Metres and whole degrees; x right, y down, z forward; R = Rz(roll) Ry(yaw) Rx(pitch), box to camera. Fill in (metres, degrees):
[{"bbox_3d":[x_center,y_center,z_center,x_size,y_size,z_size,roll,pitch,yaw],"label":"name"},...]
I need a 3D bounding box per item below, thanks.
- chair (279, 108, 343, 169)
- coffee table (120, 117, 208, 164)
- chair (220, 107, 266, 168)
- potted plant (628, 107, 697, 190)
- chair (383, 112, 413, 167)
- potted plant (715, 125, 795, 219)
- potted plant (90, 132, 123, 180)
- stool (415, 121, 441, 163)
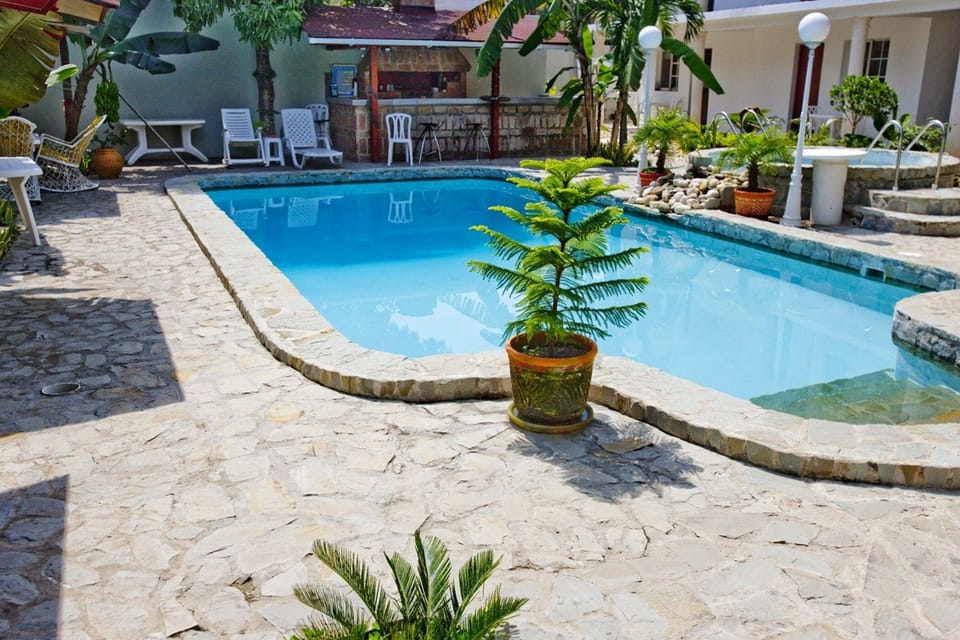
[{"bbox_3d":[-4.791,-5.012,15.362,1.287,1.566,2.499,-13,35,-29],"label":"chair"},{"bbox_3d":[-8.628,-4.844,15.133,1.904,1.181,2.793,-11,21,-29],"label":"coffee table"},{"bbox_3d":[-6.250,-5.098,15.444,1.410,1.508,2.241,-7,27,-25],"label":"chair"},{"bbox_3d":[4.324,-4.026,12.754,1.270,1.258,1.245,15,18,9],"label":"potted plant"},{"bbox_3d":[-2.309,-5.142,15.759,0.791,1.385,1.491,-2,19,-6],"label":"chair"},{"bbox_3d":[5.059,-2.663,10.313,1.535,1.482,1.366,-2,7,-6],"label":"potted plant"},{"bbox_3d":[-8.987,-3.775,13.307,0.716,0.725,0.669,13,24,5],"label":"potted plant"},{"bbox_3d":[-1.584,-5.299,16.516,0.849,1.085,0.396,-14,24,-35],"label":"stool"}]
